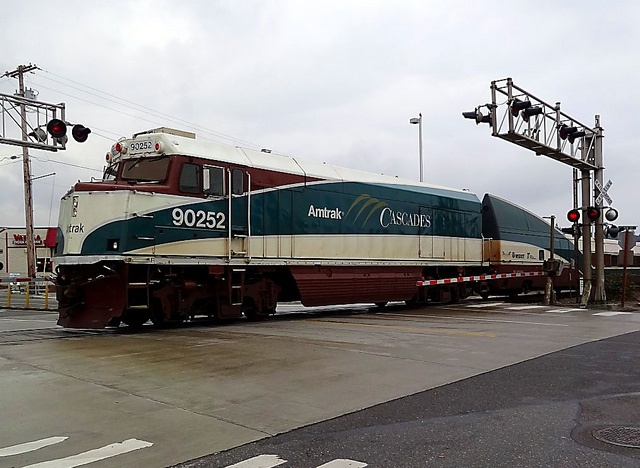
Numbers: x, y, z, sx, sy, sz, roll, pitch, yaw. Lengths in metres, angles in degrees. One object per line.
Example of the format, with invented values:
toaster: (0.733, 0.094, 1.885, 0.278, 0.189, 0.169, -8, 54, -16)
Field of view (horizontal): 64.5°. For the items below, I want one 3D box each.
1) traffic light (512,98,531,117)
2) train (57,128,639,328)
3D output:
traffic light: (7.416, -4.734, 18.887, 0.813, 0.608, 0.174, 1, -4, -23)
train: (2.830, 0.156, 20.469, 24.196, 5.586, 2.671, 3, -5, -38)
